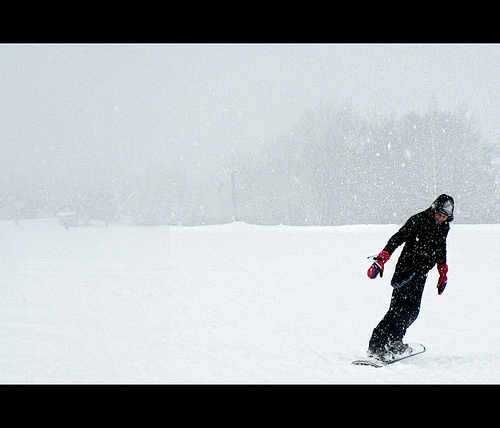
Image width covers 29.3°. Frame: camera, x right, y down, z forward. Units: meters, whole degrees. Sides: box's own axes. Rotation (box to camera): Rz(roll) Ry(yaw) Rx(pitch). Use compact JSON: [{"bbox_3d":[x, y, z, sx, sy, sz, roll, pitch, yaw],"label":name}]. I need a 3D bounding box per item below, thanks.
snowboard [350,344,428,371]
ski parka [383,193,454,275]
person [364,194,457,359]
[{"bbox_3d":[2.128,2.219,14.787,1.319,0.409,0.194,-13,-18,-18],"label":"snowboard"},{"bbox_3d":[2.587,0.317,14.426,0.964,1.183,0.223,-3,13,-1],"label":"ski parka"},{"bbox_3d":[2.453,0.957,14.535,1.359,2.484,0.347,-6,13,-11],"label":"person"}]
